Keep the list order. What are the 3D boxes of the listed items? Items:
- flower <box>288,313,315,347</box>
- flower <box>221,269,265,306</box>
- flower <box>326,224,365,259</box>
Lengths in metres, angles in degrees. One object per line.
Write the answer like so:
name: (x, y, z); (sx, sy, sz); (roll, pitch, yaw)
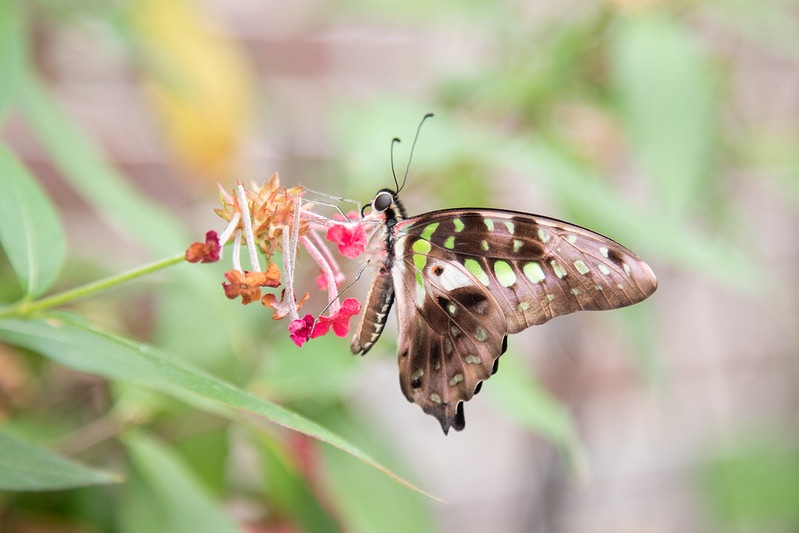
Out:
flower: (-0.272, 0.174, 2.107); (0.033, 0.081, 0.066); (8, 12, 29)
flower: (-0.415, 0.056, 2.030); (0.101, 0.088, 0.094); (9, -20, -10)
flower: (-0.158, -0.084, 2.227); (0.144, 0.098, 0.038); (21, -25, -37)
